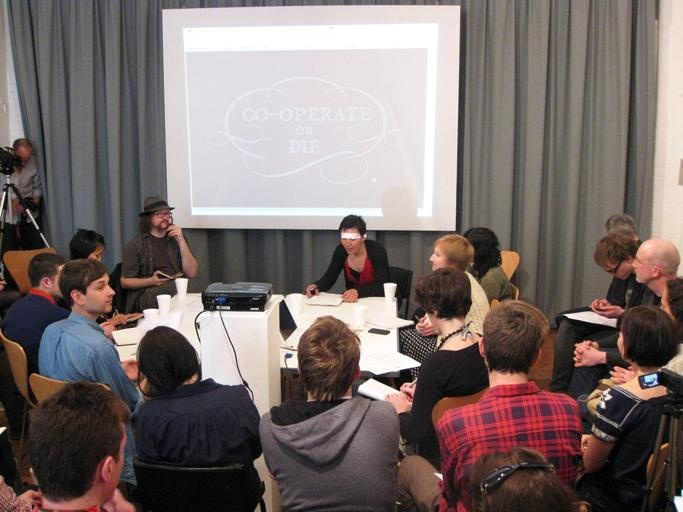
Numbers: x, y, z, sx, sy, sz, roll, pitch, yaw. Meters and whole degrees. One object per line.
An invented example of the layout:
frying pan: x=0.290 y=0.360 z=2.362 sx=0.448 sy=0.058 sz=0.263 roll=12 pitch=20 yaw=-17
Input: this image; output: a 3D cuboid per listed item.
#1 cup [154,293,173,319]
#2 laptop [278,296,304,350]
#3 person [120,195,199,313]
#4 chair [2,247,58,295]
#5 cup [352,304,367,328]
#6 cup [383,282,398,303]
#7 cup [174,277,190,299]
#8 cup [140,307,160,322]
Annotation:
cup: x=-1.133 y=0.323 z=3.730 sx=0.108 sy=0.136 sz=0.112 roll=2 pitch=5 yaw=0
laptop: x=-0.299 y=0.391 z=3.556 sx=0.194 sy=0.216 sz=0.299 roll=0 pitch=11 yaw=5
person: x=-1.416 y=0.160 z=4.617 sx=0.541 sy=1.276 sz=0.600 roll=-5 pitch=11 yaw=-40
chair: x=-2.220 y=0.121 z=4.148 sx=0.234 sy=0.431 sz=0.265 roll=-6 pitch=18 yaw=-36
cup: x=0.110 y=0.372 z=3.676 sx=0.103 sy=0.132 sz=0.109 roll=0 pitch=17 yaw=0
cup: x=0.317 y=0.252 z=3.981 sx=0.101 sy=0.127 sz=0.105 roll=-1 pitch=6 yaw=0
cup: x=-1.110 y=0.230 z=4.146 sx=0.107 sy=0.158 sz=0.123 roll=-1 pitch=6 yaw=7
cup: x=-1.185 y=0.353 z=3.633 sx=0.069 sy=0.059 sz=0.077 roll=9 pitch=18 yaw=19
